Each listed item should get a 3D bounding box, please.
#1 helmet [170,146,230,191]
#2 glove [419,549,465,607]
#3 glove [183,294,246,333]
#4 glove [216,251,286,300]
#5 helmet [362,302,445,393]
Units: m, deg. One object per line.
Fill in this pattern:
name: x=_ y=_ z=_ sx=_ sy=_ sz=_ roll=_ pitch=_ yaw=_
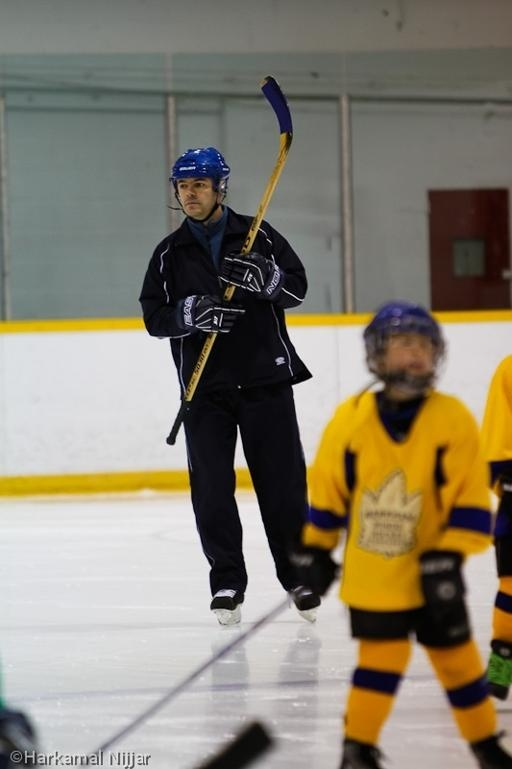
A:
helmet: x=-0.143 y=-0.600 z=3.112 sx=0.123 sy=0.122 sz=0.147 roll=0 pitch=19 yaw=19
glove: x=0.290 y=0.307 z=1.801 sx=0.084 sy=0.084 sz=0.068 roll=3 pitch=3 yaw=26
glove: x=-0.112 y=-0.193 z=2.994 sx=0.133 sy=0.051 sz=0.094 roll=2 pitch=30 yaw=-4
glove: x=-0.002 y=-0.298 z=3.012 sx=0.151 sy=0.109 sz=0.069 roll=19 pitch=50 yaw=39
helmet: x=0.262 y=-0.066 z=1.956 sx=0.161 sy=0.169 sz=0.151 roll=-2 pitch=-14 yaw=16
